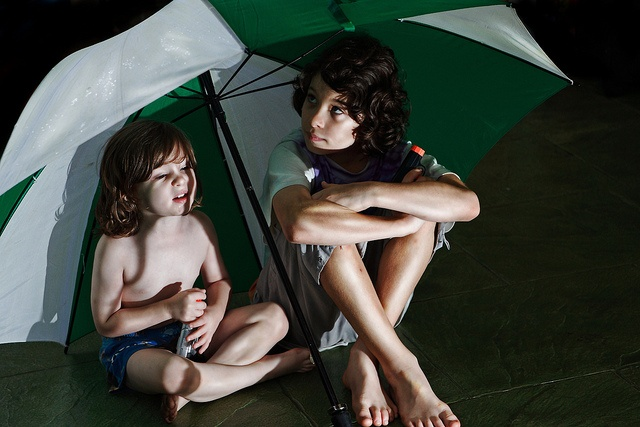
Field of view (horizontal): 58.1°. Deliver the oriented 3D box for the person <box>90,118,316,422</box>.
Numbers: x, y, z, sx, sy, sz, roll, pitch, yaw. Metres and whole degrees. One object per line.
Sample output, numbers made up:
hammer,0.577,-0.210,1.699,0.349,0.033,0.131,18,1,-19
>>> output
person,-0.504,0.017,2.601,1.035,1.254,0.865,15,22,29
